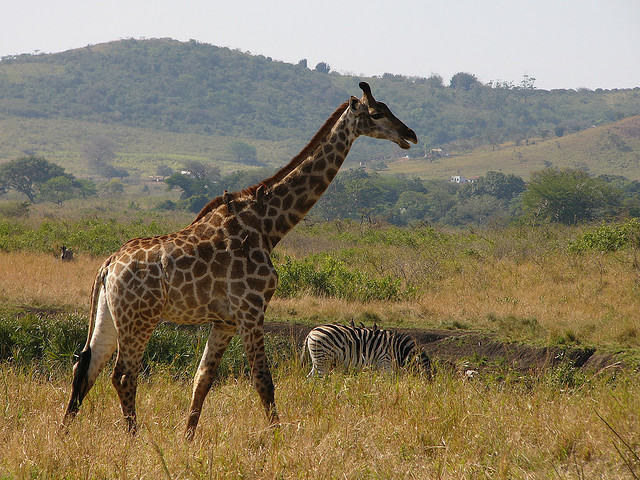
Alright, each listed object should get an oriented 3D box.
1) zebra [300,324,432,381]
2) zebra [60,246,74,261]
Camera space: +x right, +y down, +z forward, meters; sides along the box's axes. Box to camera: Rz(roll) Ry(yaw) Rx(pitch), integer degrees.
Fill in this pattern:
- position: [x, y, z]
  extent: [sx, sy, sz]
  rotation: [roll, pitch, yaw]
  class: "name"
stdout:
- position: [0.792, 2.119, 15.266]
  extent: [2.228, 1.321, 0.579]
  rotation: [1, 8, 8]
  class: "zebra"
- position: [-6.927, 0.399, 23.818]
  extent: [0.293, 0.326, 0.450]
  rotation: [5, 6, -17]
  class: "zebra"
